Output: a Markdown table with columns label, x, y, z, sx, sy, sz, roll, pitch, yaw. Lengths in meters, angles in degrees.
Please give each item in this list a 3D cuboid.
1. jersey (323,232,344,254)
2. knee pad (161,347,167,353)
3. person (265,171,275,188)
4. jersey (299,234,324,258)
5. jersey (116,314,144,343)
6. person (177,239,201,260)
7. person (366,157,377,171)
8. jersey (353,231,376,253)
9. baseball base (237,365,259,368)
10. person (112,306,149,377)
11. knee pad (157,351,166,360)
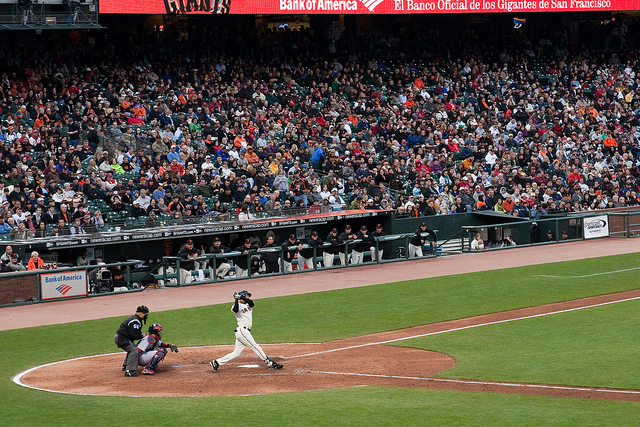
| label | x | y | z | sx | sy | sz | roll | pitch | yaw |
| --- | --- | --- | --- | --- | --- | --- | --- | --- | --- |
| jersey | 0.478 | 1.391 | 53.279 | 0.847 | 1.263 | 0.899 | 8 | -7 | -34 |
| knee pad | -5.316 | 4.623 | 39.468 | 0.174 | 0.090 | 0.245 | 8 | -6 | 1 |
| person | -2.350 | -1.560 | 54.496 | 0.778 | 0.666 | 0.418 | 2 | -8 | -28 |
| jersey | -0.384 | 1.579 | 52.658 | 0.927 | 1.032 | 0.774 | 6 | 12 | 12 |
| jersey | -6.356 | 3.833 | 39.706 | 1.025 | 0.944 | 1.055 | 12 | 5 | -16 |
| person | -5.652 | 1.608 | 49.803 | 0.764 | 0.487 | 0.836 | -1 | 1 | -32 |
| person | 2.575 | -2.430 | 58.061 | 0.608 | 0.800 | 0.412 | -4 | -6 | -14 |
| jersey | 2.012 | 1.303 | 53.981 | 0.862 | 1.162 | 1.031 | -6 | 7 | -43 |
| baseball base | -2.411 | 5.225 | 39.864 | 0.601 | 0.050 | 0.261 | 5 | 12 | 7 |
| person | -6.406 | 4.306 | 39.394 | 1.071 | 2.215 | 1.231 | 1 | 12 | -10 |
| knee pad | -5.370 | 4.772 | 39.452 | 0.290 | 0.225 | 0.118 | -6 | 16 | -39 |
